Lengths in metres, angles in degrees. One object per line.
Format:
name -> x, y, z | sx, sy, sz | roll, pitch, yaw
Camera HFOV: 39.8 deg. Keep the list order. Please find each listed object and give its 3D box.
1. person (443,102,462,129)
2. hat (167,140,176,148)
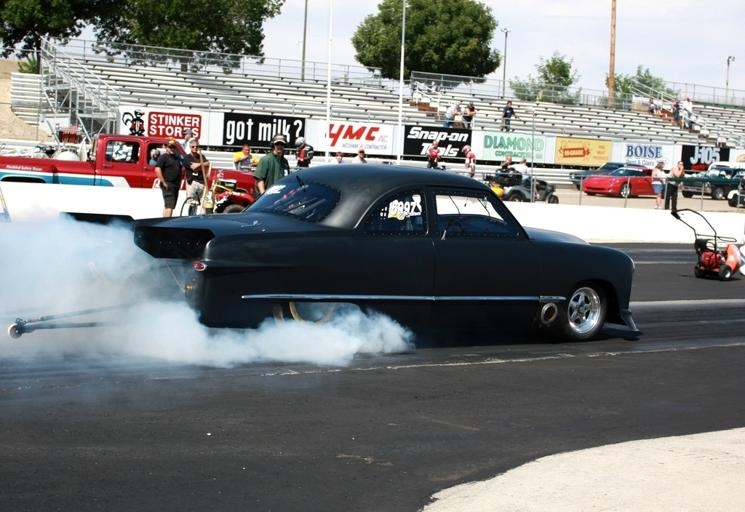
person -> 3.387, -5.815, 42.384 | 0.759, 1.024, 1.977 | 10, 6, 3
hat -> -3.799, -2.132, 19.393 | 0.153, 0.185, 0.288 | 8, 6, -11
